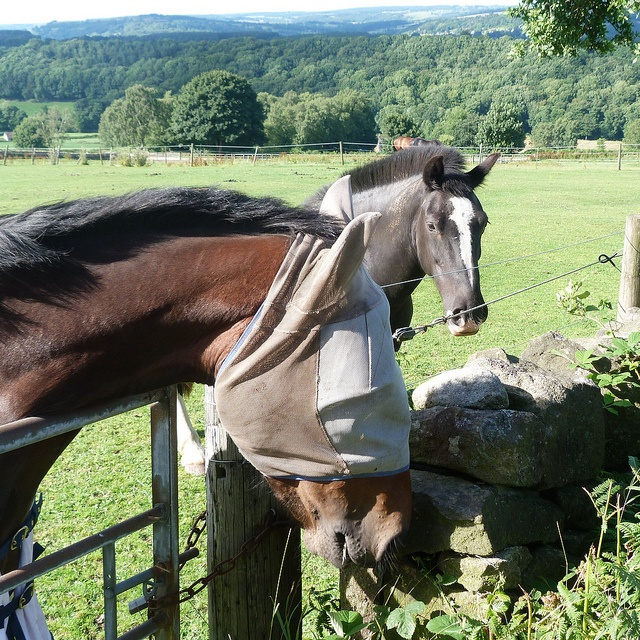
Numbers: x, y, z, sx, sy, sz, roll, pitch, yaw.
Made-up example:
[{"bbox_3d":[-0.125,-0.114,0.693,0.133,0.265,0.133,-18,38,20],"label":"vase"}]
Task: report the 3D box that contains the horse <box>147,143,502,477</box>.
[{"bbox_3d":[0.315,-0.302,5.904,0.616,2.252,2.921,-6,17,-23],"label":"horse"}]
